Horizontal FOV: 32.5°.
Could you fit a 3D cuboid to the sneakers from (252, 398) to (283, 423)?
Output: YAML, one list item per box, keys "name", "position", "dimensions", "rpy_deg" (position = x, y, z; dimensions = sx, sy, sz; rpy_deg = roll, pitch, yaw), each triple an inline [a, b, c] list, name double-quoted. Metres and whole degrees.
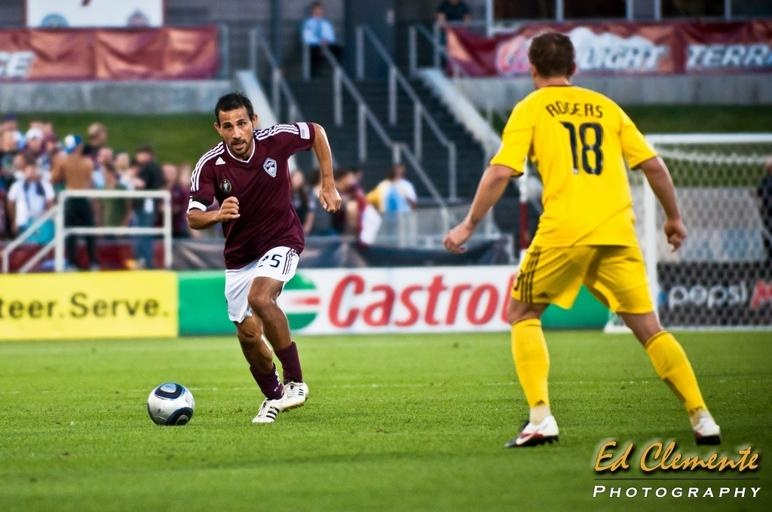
- name: "sneakers"
  position: [-1.170, 1.516, 12.797]
  dimensions: [0.257, 0.189, 0.380]
  rpy_deg: [-3, 12, 1]

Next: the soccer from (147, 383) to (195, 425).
- name: "soccer"
  position: [-2.076, 1.411, 12.733]
  dimensions: [0.396, 0.398, 0.390]
  rpy_deg: [-7, 57, -6]
